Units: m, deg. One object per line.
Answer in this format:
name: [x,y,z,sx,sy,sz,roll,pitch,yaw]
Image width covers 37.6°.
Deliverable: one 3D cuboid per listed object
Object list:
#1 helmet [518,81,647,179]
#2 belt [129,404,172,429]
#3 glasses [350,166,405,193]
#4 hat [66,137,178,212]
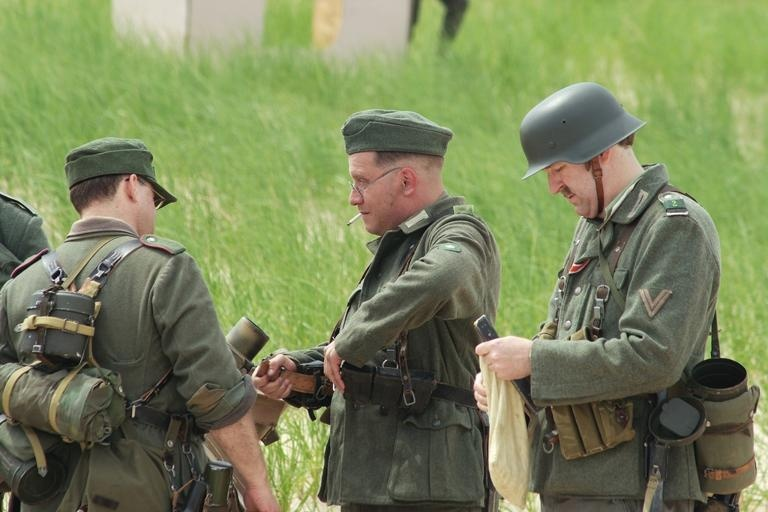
helmet: [1.031,-0.590,6.171,0.609,0.293,0.493,-32,8,-5]
belt: [-1.228,0.842,5.909,0.142,0.056,0.134,26,-14,-24]
glasses: [-0.048,-0.439,6.390,0.207,0.059,0.160,-35,4,1]
hat: [-1.476,-0.448,6.192,0.439,0.252,0.319,4,-5,-22]
